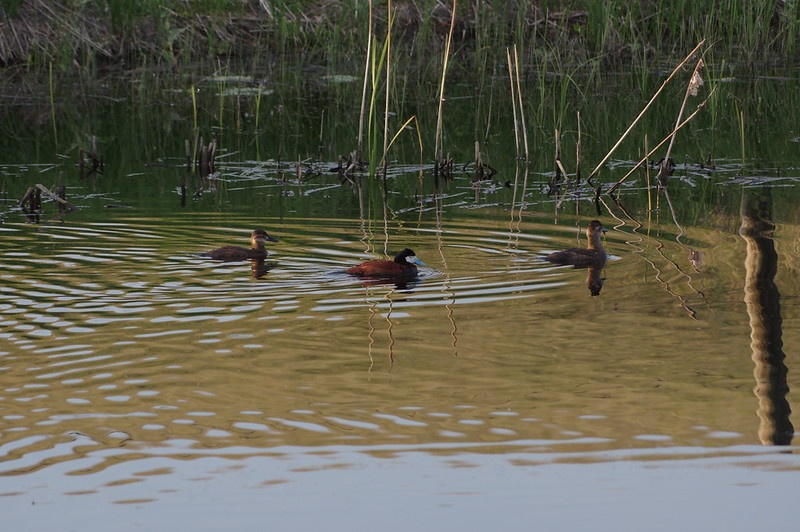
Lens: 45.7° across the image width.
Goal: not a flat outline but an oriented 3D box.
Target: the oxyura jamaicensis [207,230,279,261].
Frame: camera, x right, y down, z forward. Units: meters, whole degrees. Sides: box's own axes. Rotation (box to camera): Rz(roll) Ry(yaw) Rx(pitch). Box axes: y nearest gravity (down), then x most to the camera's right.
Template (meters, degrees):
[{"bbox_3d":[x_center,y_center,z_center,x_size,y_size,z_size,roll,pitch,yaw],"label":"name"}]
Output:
[{"bbox_3d":[-2.195,-0.291,13.190,1.056,0.365,0.645,-6,11,-25],"label":"oxyura jamaicensis"}]
